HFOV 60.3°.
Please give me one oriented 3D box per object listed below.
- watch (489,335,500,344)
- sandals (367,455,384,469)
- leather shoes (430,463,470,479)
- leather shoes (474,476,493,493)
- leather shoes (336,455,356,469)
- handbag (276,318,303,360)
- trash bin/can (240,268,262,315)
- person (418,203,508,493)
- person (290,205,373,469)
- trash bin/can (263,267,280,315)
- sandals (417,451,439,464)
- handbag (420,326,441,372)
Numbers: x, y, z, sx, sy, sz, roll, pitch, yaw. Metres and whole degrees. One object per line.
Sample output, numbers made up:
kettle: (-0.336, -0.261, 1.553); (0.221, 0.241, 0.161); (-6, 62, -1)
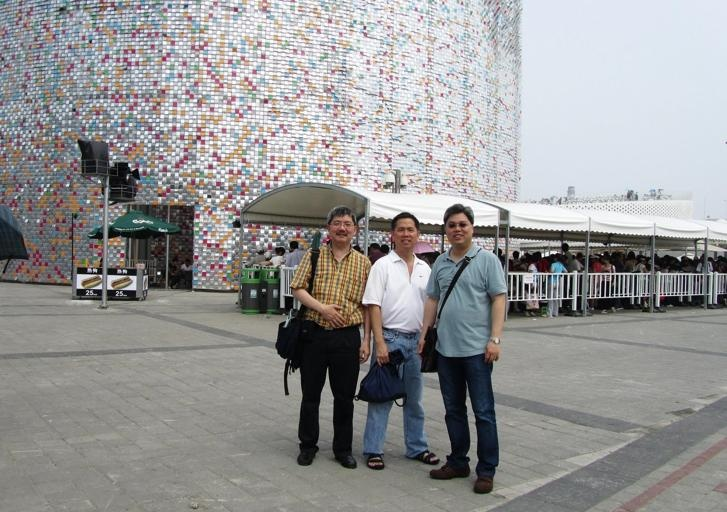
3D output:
watch: (1.275, 0.807, 6.091); (0.095, 0.057, 0.093); (18, -13, -32)
sandals: (0.115, 2.083, 6.392); (0.192, 0.136, 0.152); (1, 0, 0)
leather shoes: (0.841, 2.115, 6.241); (0.410, 0.155, 0.143); (4, -4, -9)
leather shoes: (1.152, 2.171, 5.974); (0.220, 0.143, 0.109); (1, 0, -17)
leather shoes: (-0.182, 2.080, 6.369); (0.093, 0.087, 0.211); (4, -7, -35)
handbag: (-0.780, 0.839, 6.386); (0.287, 0.430, 0.153); (1, 0, 35)
trash bin/can: (-3.199, 0.959, 17.734); (0.563, 1.298, 1.165); (1, 0, -12)
person: (0.992, 0.863, 6.159); (0.715, 2.704, 0.383); (1, 0, 20)
person: (-0.348, 0.807, 6.466); (0.813, 2.646, 0.376); (1, 0, -1)
trash bin/can: (-2.627, 0.969, 17.600); (0.482, 1.307, 0.427); (1, 0, -13)
sandals: (0.677, 2.090, 6.505); (0.107, 0.060, 0.225); (0, -5, -26)
handbag: (0.674, 0.944, 6.319); (0.201, 0.450, 0.462); (4, -2, 5)
